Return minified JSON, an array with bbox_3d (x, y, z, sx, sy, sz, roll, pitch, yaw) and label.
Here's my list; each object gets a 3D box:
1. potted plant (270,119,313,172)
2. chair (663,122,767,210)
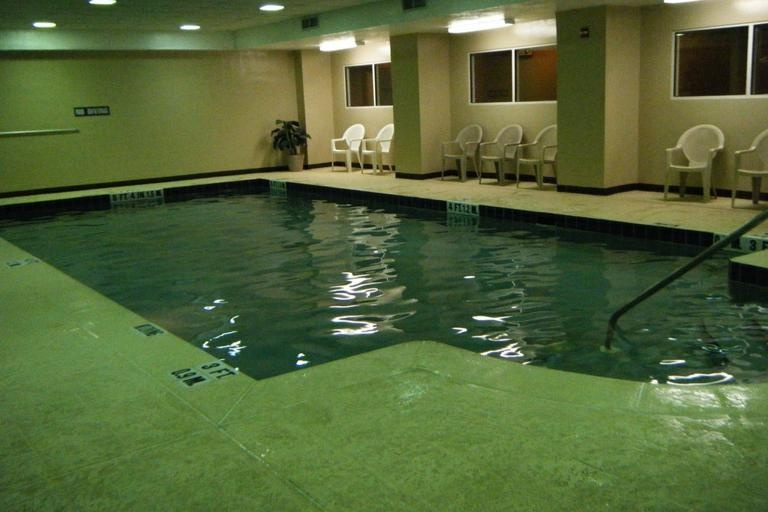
[{"bbox_3d":[-2.584,-3.066,14.443,1.078,1.377,0.753,-6,15,-8],"label":"potted plant"},{"bbox_3d":[5.092,-1.449,8.162,1.582,1.198,1.285,10,19,43],"label":"chair"}]
